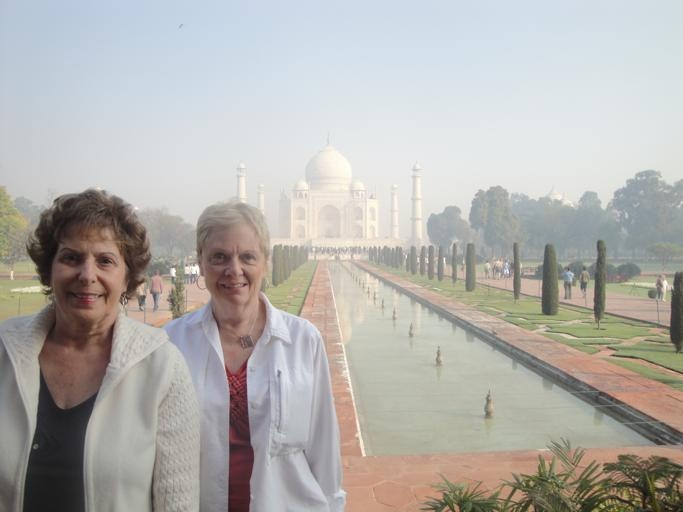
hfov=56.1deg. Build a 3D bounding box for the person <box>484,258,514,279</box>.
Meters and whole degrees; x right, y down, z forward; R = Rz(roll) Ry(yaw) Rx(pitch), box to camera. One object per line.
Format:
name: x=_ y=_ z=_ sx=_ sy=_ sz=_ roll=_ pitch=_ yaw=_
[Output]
person: x=5.529 y=0.458 z=22.655 sx=0.795 sy=0.458 sz=1.091 roll=1 pitch=1 yaw=6
